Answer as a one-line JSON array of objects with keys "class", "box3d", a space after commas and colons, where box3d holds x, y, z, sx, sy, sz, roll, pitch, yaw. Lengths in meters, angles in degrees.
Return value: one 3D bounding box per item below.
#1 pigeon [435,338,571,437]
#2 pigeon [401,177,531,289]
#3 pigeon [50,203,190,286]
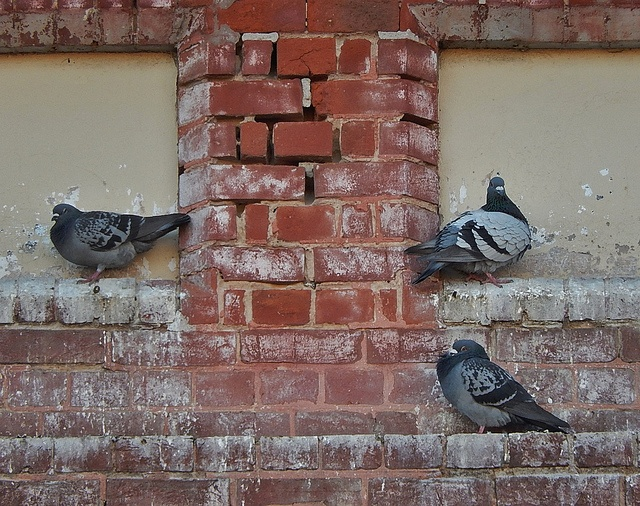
[{"class": "pigeon", "box3d": [0.870, 0.646, 8.003, 0.680, 0.451, 0.336, 6, -8, -5]}, {"class": "pigeon", "box3d": [0.707, -0.105, 8.155, 0.593, 0.502, 0.349, -2, 6, -23]}, {"class": "pigeon", "box3d": [-0.948, -0.096, 8.282, 0.696, 0.391, 0.295, -9, -2, -24]}]
